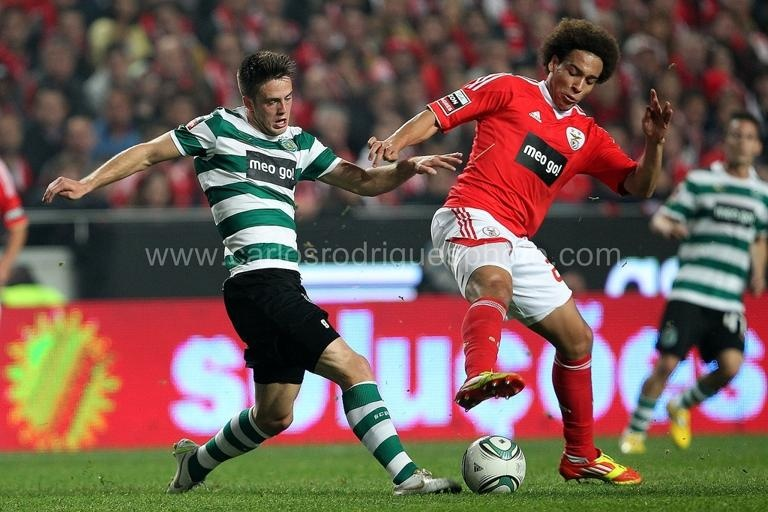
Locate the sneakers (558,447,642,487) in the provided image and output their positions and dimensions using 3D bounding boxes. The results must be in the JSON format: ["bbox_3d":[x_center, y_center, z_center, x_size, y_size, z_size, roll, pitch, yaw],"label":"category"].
[{"bbox_3d":[1.783,1.773,8.589,0.694,0.301,0.253,3,-5,3],"label":"sneakers"}]

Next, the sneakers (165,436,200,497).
[{"bbox_3d":[-1.669,1.759,8.580,0.229,0.523,0.175,1,-8,15],"label":"sneakers"}]

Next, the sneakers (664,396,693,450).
[{"bbox_3d":[2.923,1.662,10.243,0.203,0.572,0.245,-6,4,7],"label":"sneakers"}]

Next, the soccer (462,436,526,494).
[{"bbox_3d":[0.852,1.671,8.253,0.460,0.440,0.458,-6,47,-7],"label":"soccer"}]

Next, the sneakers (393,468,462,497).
[{"bbox_3d":[0.329,1.757,7.987,0.540,0.215,0.194,-4,-10,-6],"label":"sneakers"}]
